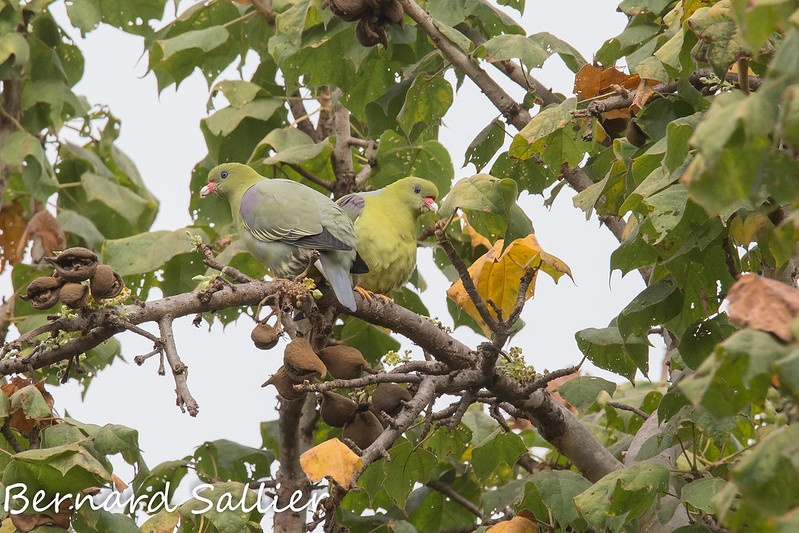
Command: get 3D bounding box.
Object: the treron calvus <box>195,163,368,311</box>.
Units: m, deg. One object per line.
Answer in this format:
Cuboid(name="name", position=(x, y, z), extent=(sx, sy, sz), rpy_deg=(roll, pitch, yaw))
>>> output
Cuboid(name="treron calvus", position=(-0.581, -0.208, 6.093), extent=(0.850, 0.744, 0.476), rpy_deg=(-4, -4, 18))
